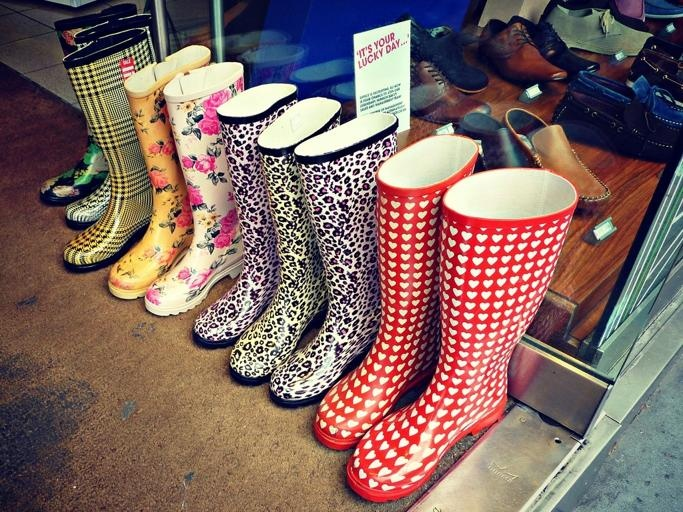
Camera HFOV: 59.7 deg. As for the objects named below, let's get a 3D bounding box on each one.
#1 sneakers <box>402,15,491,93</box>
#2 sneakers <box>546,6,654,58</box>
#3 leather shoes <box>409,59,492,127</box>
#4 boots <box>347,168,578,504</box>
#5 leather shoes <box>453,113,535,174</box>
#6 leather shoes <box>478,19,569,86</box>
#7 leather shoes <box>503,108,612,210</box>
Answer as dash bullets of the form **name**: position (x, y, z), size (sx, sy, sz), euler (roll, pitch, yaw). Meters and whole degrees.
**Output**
- **sneakers**: position (0.272, -0.478, 1.443), size (0.079, 0.090, 0.244), euler (-32, 55, -30)
- **sneakers**: position (0.521, -0.465, 1.259), size (0.223, 0.090, 0.073), euler (24, 88, 35)
- **leather shoes**: position (0.247, -0.422, 1.519), size (0.091, 0.100, 0.256), euler (-41, 45, -9)
- **boots**: position (0.248, 0.190, 1.250), size (0.259, 0.616, 0.533), euler (23, 48, 19)
- **leather shoes**: position (0.348, -0.263, 1.386), size (0.083, 0.077, 0.197), euler (-34, 50, -12)
- **leather shoes**: position (0.386, -0.450, 1.331), size (0.079, 0.101, 0.241), euler (-29, 47, -5)
- **leather shoes**: position (0.444, -0.216, 1.309), size (0.099, 0.118, 0.290), euler (-38, 57, 0)
